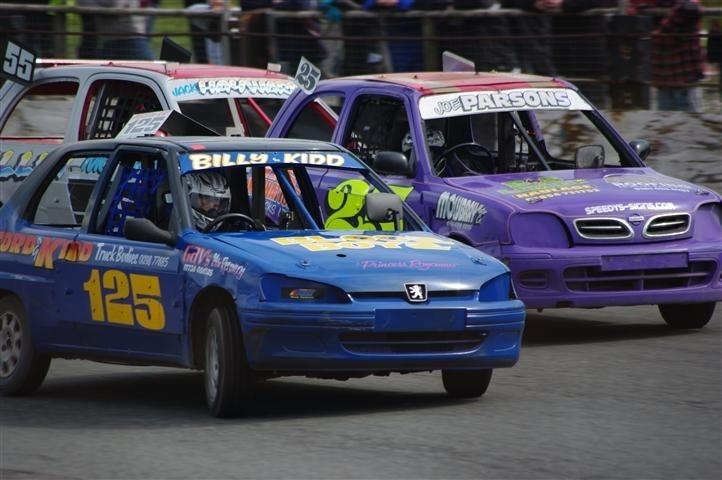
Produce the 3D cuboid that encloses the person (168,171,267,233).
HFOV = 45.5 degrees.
[{"bbox_3d":[-1.088,-0.333,7.735,0.865,0.629,0.673,0,12,44],"label":"person"}]

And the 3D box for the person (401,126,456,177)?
[{"bbox_3d":[0.857,-1.055,10.081,0.483,0.601,0.246,-9,10,-31],"label":"person"}]
